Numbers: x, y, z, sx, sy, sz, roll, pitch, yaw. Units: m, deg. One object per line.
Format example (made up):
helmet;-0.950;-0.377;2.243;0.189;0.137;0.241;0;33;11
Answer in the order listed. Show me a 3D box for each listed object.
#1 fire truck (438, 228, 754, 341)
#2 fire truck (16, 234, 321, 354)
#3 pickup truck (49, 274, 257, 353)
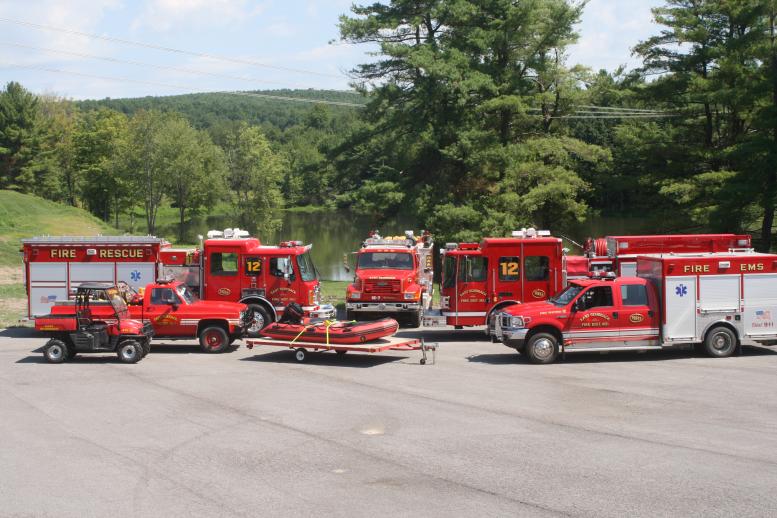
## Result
fire truck;8.151;1.156;37.800;12.784;4.642;3.571;0;0;6
fire truck;-8.349;1.236;43.534;11.408;4.514;3.828;-1;0;6
pickup truck;-9.696;2.090;39.019;7.621;2.681;3.214;1;4;-3
